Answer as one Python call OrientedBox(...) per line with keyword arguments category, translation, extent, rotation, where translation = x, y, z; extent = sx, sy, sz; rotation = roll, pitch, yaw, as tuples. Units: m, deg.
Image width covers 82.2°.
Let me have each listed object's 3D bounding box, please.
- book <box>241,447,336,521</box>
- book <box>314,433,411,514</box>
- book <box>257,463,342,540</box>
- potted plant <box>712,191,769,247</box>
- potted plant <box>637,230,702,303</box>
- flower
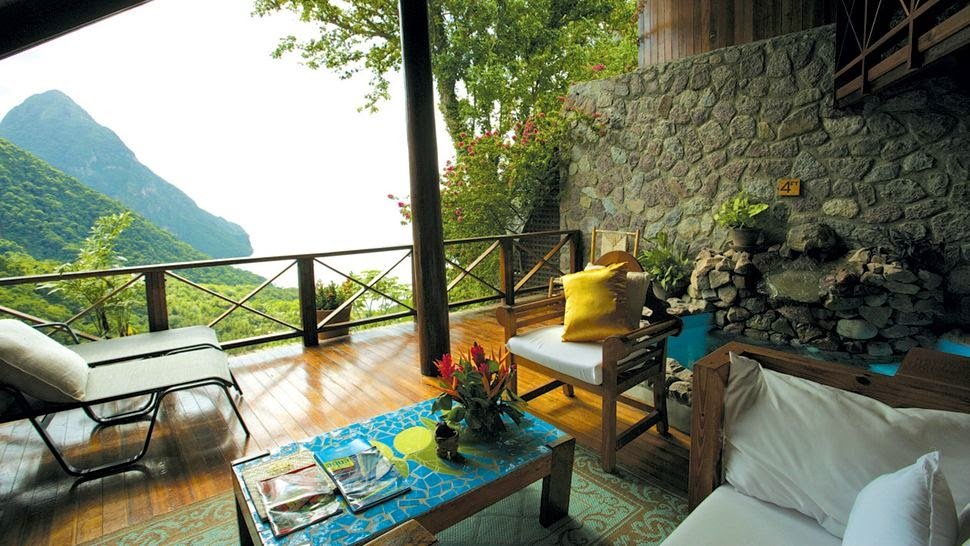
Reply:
OrientedBox(category="book", translation=(-1.626, 1.695, 4.468), extent=(0.507, 0.119, 0.512), rotation=(-11, 33, -26))
OrientedBox(category="book", translation=(-0.918, 1.516, 4.193), extent=(0.450, 0.065, 0.612), rotation=(-20, 38, -29))
OrientedBox(category="book", translation=(-1.387, 1.735, 4.228), extent=(0.519, 0.520, 0.348), rotation=(-9, 2, -23))
OrientedBox(category="potted plant", translation=(3.496, -0.747, 7.585), extent=(0.739, 0.637, 0.720), rotation=(-15, 18, -38))
OrientedBox(category="potted plant", translation=(2.483, -0.060, 7.380), extent=(0.699, 0.875, 0.848), rotation=(-18, 17, -24))
OrientedBox(category="flower", translation=(-0.019, 1.009, 4.873), extent=(0.846, 0.759, 0.809), rotation=(-4, 4, 8))
